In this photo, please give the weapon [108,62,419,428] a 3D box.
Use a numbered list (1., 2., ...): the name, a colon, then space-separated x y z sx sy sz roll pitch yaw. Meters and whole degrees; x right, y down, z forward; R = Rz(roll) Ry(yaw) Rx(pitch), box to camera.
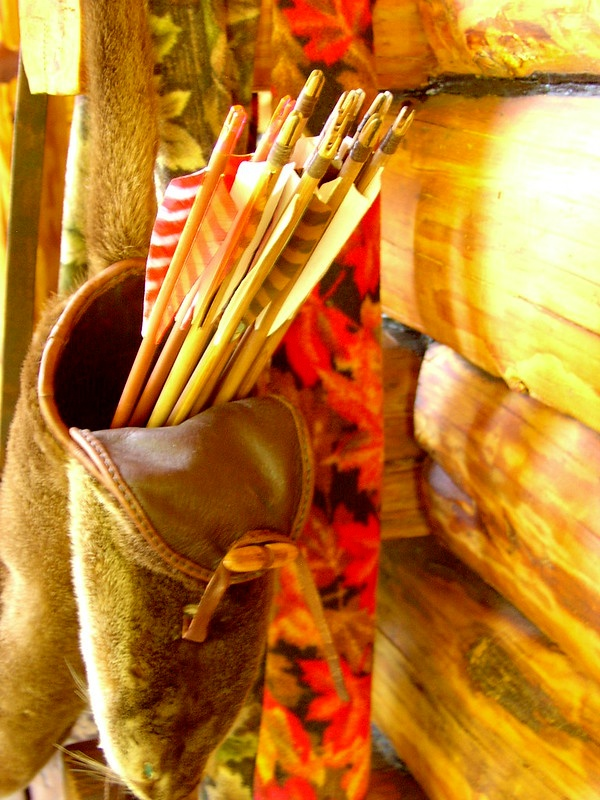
1. weapon: -0.041 -0.086 0.433 0.201 0.215 0.107 -18 45 -14
